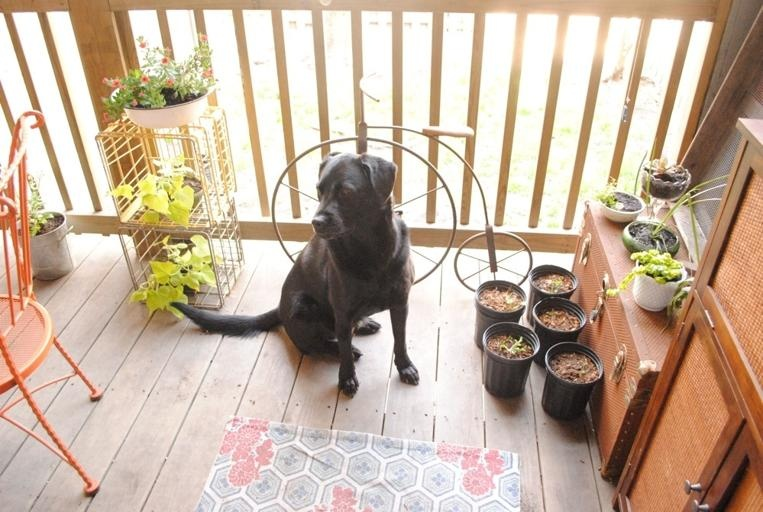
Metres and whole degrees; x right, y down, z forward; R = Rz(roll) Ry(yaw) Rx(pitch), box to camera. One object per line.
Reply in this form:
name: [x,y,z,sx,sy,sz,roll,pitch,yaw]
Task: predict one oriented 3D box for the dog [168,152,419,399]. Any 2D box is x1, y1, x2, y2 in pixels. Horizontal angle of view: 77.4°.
dog: [-0.251,0.035,2.454,1.116,1.091,0.806,16,23,31]
